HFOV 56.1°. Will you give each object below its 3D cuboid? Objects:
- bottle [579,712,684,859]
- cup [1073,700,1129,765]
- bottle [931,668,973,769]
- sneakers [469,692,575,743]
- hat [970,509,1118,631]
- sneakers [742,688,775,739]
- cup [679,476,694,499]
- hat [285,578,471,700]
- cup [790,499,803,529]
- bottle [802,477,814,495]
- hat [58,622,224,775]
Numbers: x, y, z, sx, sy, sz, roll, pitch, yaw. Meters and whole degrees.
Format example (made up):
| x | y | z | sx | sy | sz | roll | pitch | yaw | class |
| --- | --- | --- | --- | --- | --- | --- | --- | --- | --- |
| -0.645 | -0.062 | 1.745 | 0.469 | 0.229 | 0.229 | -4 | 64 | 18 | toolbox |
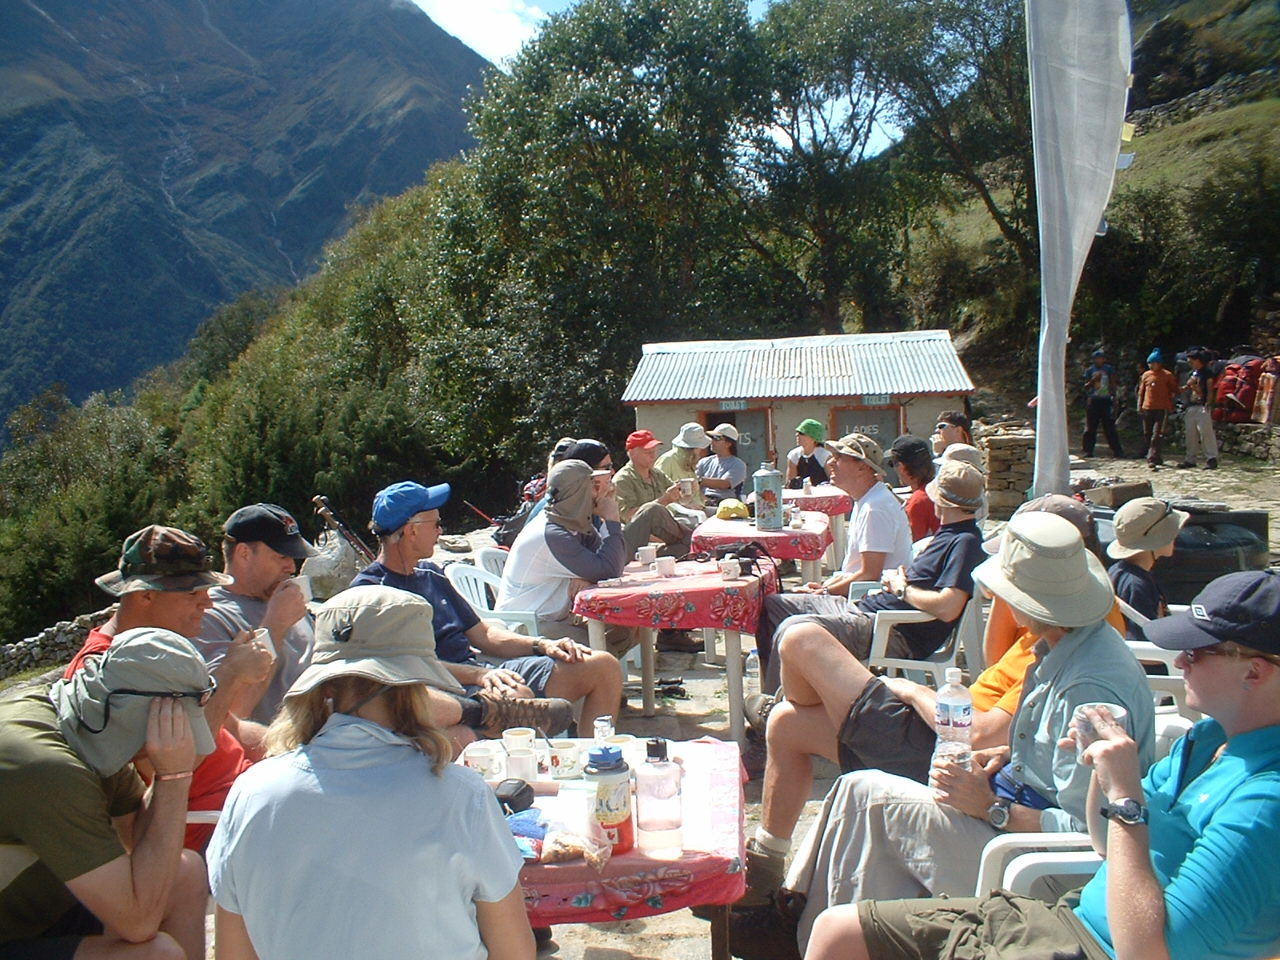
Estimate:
| x | y | z | sx | sy | sz | roll | pitch | yaw | class |
| --- | --- | --- | --- | --- | --- | --- | --- | --- | --- |
| -0.044 | 1.130 | 4.367 | 0.414 | 0.488 | 0.236 | -3 | 3 | -37 | bottle |
| 1.555 | 0.809 | 4.031 | 0.175 | 0.210 | 0.191 | -10 | 9 | 2 | cup |
| 1.205 | 0.895 | 4.642 | 0.136 | 0.351 | 0.245 | 0 | 3 | 15 | bottle |
| -0.582 | 1.119 | 5.778 | 0.522 | 0.272 | 0.193 | -4 | 11 | -13 | sneakers |
| 1.563 | 0.349 | 4.659 | 0.485 | 0.420 | 0.295 | 0 | 3 | 19 | hat |
| 0.658 | 1.305 | 6.395 | 0.172 | 0.358 | 0.130 | 0 | 9 | -29 | sneakers |
| 0.445 | 0.054 | 10.908 | 0.138 | 0.128 | 0.149 | -2 | 3 | 0 | cup |
| -0.853 | 0.467 | 3.858 | 0.419 | 0.280 | 0.353 | 7 | -5 | 22 | hat |
| 1.221 | 0.284 | 9.264 | 0.131 | 0.228 | 0.144 | -1 | 1 | -8 | cup |
| 1.609 | 0.051 | 11.543 | 0.127 | 0.156 | 0.245 | -1 | -7 | 1 | bottle |
| -1.695 | 0.717 | 4.112 | 0.495 | 0.450 | 0.396 | -5 | 14 | -30 | hat |
